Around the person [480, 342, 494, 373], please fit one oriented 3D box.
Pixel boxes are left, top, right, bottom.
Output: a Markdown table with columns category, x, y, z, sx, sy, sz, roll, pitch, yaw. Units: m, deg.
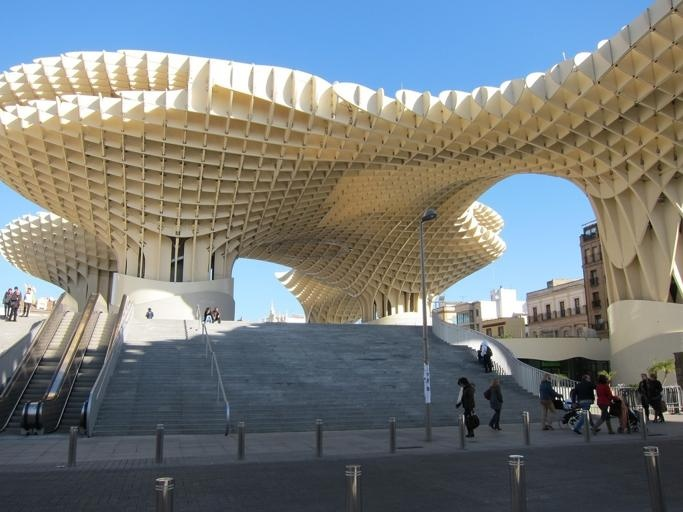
| category | x | y | z | sx | sy | sz | roll | pitch | yaw |
| --- | --- | --- | --- | --- | --- | --- | --- | --- | --- |
| person | 6.099 | 4.244 | 20.154 | 0.515 | 0.955 | 0.953 | 6 | 6 | 7 |

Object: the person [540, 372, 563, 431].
| category | x | y | z | sx | sy | sz | roll | pitch | yaw |
| --- | --- | --- | --- | --- | --- | --- | --- | --- | --- |
| person | 6.252 | 4.415 | 14.545 | 0.434 | 1.553 | 1.056 | 8 | 7 | 33 |

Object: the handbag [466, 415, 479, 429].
| category | x | y | z | sx | sy | sz | roll | pitch | yaw |
| --- | --- | --- | --- | --- | --- | --- | --- | --- | --- |
| handbag | 3.575 | 4.628 | 13.191 | 0.263 | 0.560 | 0.518 | -2 | -10 | 7 |
